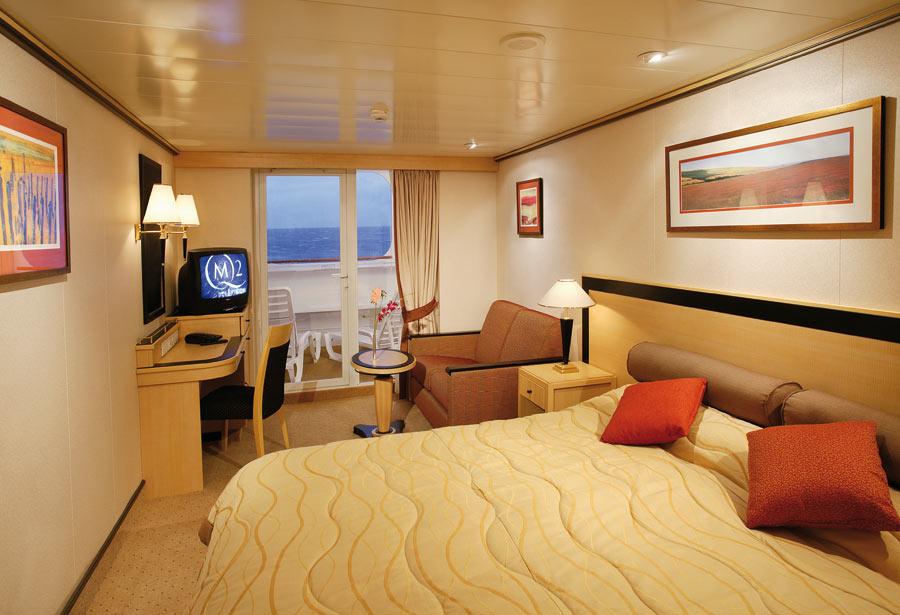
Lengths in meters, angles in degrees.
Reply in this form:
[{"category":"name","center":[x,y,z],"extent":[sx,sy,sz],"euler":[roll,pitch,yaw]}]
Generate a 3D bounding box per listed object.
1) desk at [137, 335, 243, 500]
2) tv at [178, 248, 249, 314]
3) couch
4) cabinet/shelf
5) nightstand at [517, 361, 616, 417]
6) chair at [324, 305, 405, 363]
[{"category":"desk","center":[-2.146,0.920,5.260],"extent":[0.828,1.021,1.586],"euler":[-3,7,-18]},{"category":"tv","center":[-2.197,-0.272,5.808],"extent":[0.634,0.624,0.611],"euler":[4,7,24]},{"category":"couch","center":[0.296,0.533,5.878],"extent":[1.145,1.127,1.690],"euler":[0,5,-19]},{"category":"cabinet/shelf","center":[-2.107,0.487,5.196],"extent":[0.598,1.027,1.116],"euler":[-2,6,-10]},{"category":"nightstand","center":[0.929,0.635,5.061],"extent":[0.541,0.534,0.525],"euler":[1,6,-12]},{"category":"chair","center":[-0.883,0.294,7.348],"extent":[0.545,0.642,0.917],"euler":[-4,9,-32]}]
